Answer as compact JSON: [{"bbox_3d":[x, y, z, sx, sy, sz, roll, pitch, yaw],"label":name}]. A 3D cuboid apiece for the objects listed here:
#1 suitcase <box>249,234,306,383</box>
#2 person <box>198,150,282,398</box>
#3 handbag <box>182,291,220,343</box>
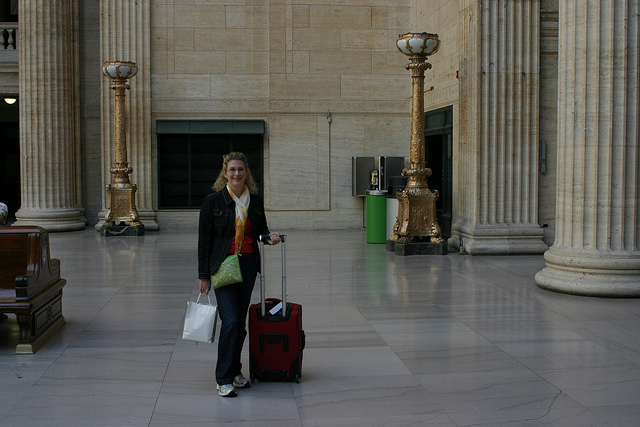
[{"bbox_3d":[-0.646,1.338,10.945,0.891,2.067,0.829,-1,-9,1],"label":"suitcase"},{"bbox_3d":[-1.041,0.790,10.521,1.143,3.028,1.100,1,-4,-25],"label":"person"},{"bbox_3d":[-1.562,1.381,10.543,0.550,0.775,0.347,1,5,-4],"label":"handbag"}]
